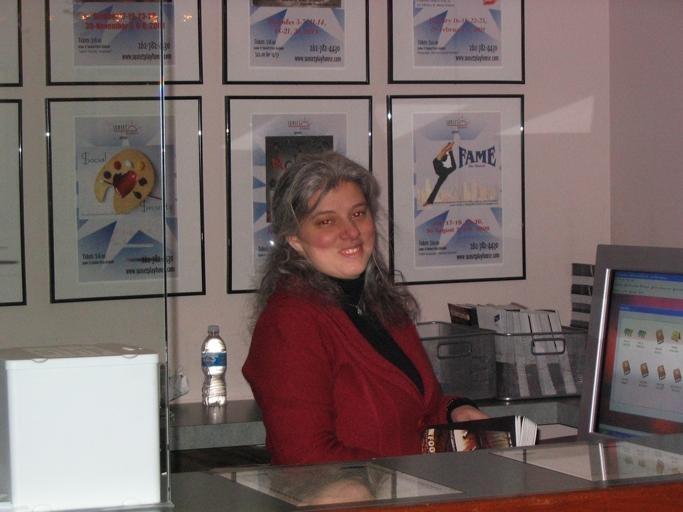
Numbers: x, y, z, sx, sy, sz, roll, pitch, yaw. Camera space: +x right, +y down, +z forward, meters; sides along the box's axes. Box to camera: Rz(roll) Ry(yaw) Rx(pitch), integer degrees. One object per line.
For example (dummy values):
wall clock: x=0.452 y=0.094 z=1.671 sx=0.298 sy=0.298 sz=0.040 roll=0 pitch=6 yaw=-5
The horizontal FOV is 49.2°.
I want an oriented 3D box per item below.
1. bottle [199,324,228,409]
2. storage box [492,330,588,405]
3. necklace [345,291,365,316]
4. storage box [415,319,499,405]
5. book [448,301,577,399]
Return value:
bottle: x=-0.442 y=0.385 z=2.651 sx=0.094 sy=0.277 sz=0.132 roll=1 pitch=-5 yaw=-11
storage box: x=0.694 y=0.360 z=2.625 sx=0.278 sy=0.200 sz=0.295 roll=-1 pitch=-4 yaw=-2
necklace: x=0.032 y=0.108 z=1.672 sx=0.031 sy=0.047 sz=0.046 roll=-1 pitch=-9 yaw=-4
storage box: x=0.372 y=0.395 z=2.684 sx=0.337 sy=0.204 sz=0.350 roll=-4 pitch=-9 yaw=1
book: x=0.662 y=0.319 z=2.652 sx=0.285 sy=0.206 sz=0.301 roll=-1 pitch=1 yaw=-11
